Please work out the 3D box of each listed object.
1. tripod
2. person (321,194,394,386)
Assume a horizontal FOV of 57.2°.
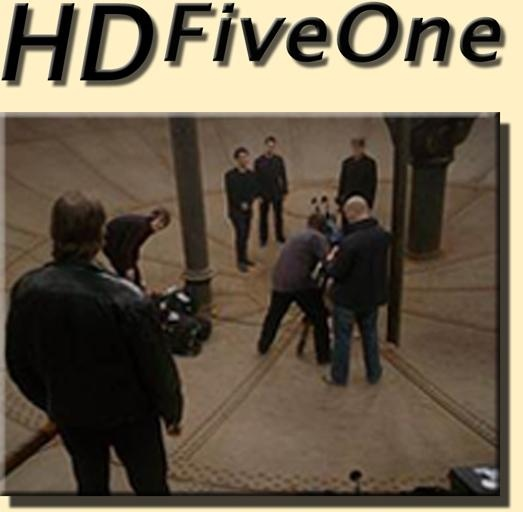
[{"bbox_3d":[0.247,0.264,2.375,0.218,0.317,0.227,-34,49,-21],"label":"tripod"},{"bbox_3d":[0.466,0.170,2.357,0.300,0.921,0.128,2,8,8],"label":"person"}]
